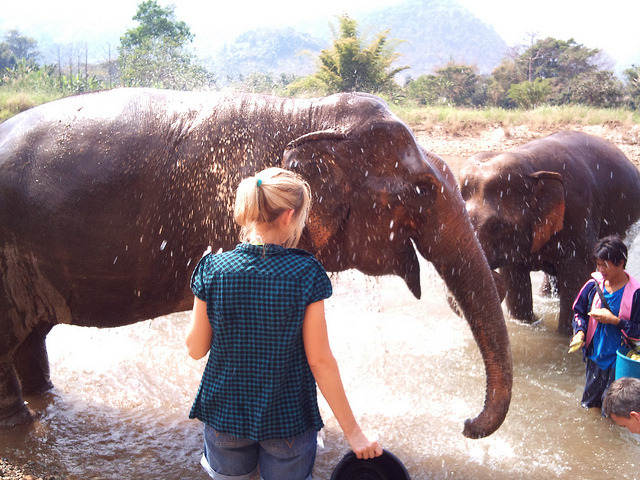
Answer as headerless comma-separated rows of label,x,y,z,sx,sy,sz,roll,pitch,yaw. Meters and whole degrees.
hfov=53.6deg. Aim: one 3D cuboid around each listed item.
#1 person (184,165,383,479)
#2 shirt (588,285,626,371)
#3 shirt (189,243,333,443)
person,-0.215,0.420,2.921,0.815,1.483,0.207,1,10,3
shirt,2.038,0.644,4.665,0.323,0.506,0.270,5,3,10
shirt,-0.276,0.463,2.918,0.644,0.913,0.181,3,11,12
